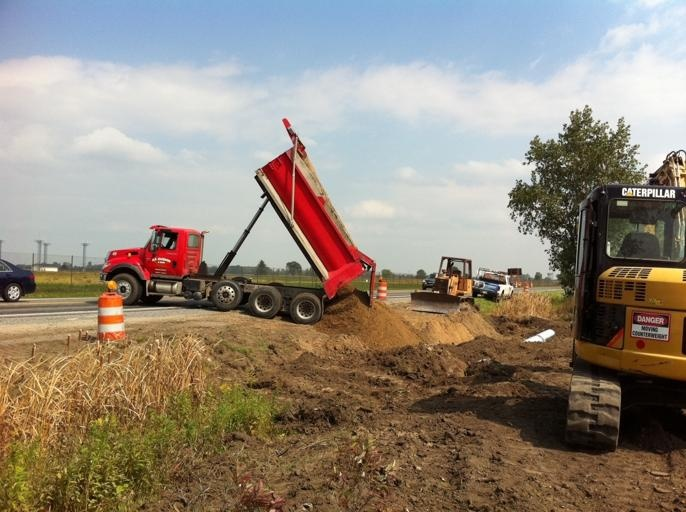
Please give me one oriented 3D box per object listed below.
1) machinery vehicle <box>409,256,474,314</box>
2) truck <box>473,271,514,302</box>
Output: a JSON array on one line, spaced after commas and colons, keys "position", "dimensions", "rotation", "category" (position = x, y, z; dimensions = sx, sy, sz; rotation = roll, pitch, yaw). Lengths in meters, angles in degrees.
[{"position": [4.589, 1.556, 23.738], "dimensions": [2.662, 2.863, 5.499], "rotation": [-1, -2, 22], "category": "machinery vehicle"}, {"position": [10.346, 2.170, 34.872], "dimensions": [2.314, 2.143, 4.781], "rotation": [2, 2, 24], "category": "truck"}]
